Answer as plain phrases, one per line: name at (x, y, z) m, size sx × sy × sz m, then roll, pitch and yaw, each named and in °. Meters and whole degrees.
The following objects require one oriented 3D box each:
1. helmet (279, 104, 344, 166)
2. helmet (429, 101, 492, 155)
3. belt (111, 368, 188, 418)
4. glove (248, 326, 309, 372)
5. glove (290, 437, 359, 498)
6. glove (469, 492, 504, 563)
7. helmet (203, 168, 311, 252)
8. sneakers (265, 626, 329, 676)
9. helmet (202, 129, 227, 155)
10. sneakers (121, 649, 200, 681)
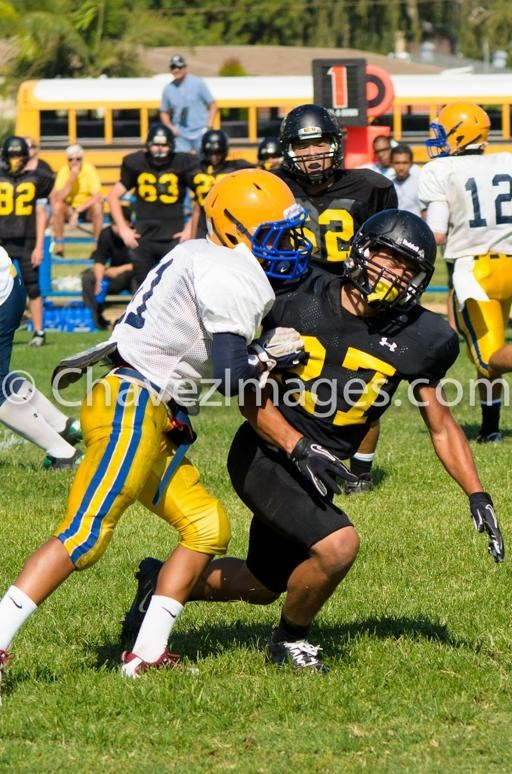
helmet at (0.280, -1.279, 3.992) m, size 0.297 × 0.299 × 0.374 m, roll -7°, pitch 25°, yaw -1°
helmet at (1.437, -1.812, 5.557) m, size 0.457 × 0.337 × 0.343 m, roll -3°, pitch 19°, yaw 12°
belt at (-0.298, 0.032, 2.299) m, size 0.136 × 0.185 × 0.070 m, roll 15°, pitch 65°, yaw 52°
glove at (0.058, -0.103, 2.235) m, size 0.163 × 0.070 × 0.095 m, roll -13°, pitch 52°, yaw -18°
glove at (0.180, 0.241, 2.218) m, size 0.208 × 0.076 × 0.133 m, roll 31°, pitch 62°, yaw 28°
glove at (0.681, 0.411, 2.285) m, size 0.055 × 0.190 × 0.125 m, roll -23°, pitch 5°, yaw 5°
helmet at (0.008, -0.533, 2.382) m, size 0.309 × 0.232 × 0.237 m, roll 16°, pitch 32°, yaw 15°
sneakers at (0.123, 0.828, 2.498) m, size 0.226 × 0.085 × 0.083 m, roll 8°, pitch 6°, yaw 42°
helmet at (-0.483, -2.926, 9.372) m, size 0.253 × 0.257 × 0.308 m, roll 5°, pitch 17°, yaw 12°
sneakers at (-0.258, 0.818, 2.361) m, size 0.263 × 0.095 × 0.085 m, roll 4°, pitch 7°, yaw -25°
